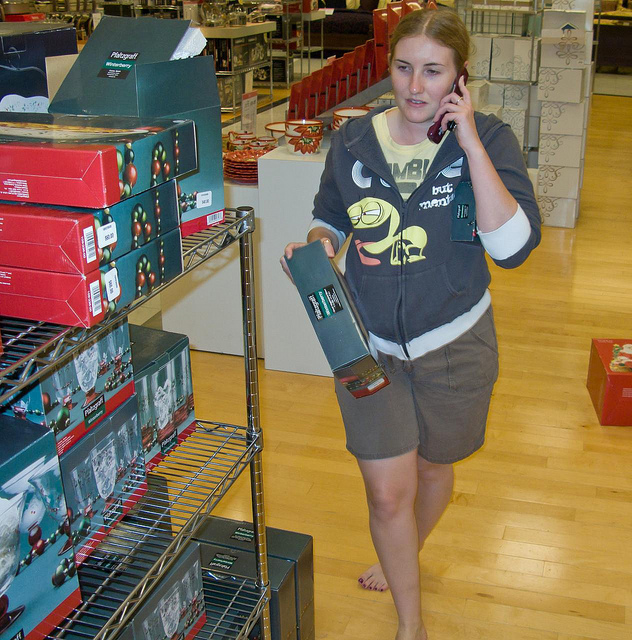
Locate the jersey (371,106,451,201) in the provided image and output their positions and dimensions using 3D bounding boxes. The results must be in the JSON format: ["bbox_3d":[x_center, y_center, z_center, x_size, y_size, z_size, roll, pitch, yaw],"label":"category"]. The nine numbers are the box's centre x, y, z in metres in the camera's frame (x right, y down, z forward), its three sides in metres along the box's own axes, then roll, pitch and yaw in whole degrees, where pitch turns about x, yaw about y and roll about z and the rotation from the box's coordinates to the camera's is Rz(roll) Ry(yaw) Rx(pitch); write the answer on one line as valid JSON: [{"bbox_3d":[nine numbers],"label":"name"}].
[{"bbox_3d":[0.254,-0.412,1.479,0.276,0.287,0.159,1,18,15],"label":"jersey"}]

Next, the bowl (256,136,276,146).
[{"bbox_3d":[-0.303,-1.090,3.424,0.075,0.034,0.080,2,26,-1],"label":"bowl"}]

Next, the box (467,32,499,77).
[{"bbox_3d":[1.667,-2.518,5.393,0.282,0.382,0.385,-20,31,-35],"label":"box"}]

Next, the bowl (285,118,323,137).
[{"bbox_3d":[-0.071,-1.052,3.093,0.184,0.092,0.177,0,24,0],"label":"bowl"}]

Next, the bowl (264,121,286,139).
[{"bbox_3d":[-0.246,-1.181,3.506,0.132,0.084,0.133,0,28,0],"label":"bowl"}]

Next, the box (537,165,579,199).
[{"bbox_3d":[2.160,-1.215,5.141,0.358,0.234,0.377,8,13,33],"label":"box"}]

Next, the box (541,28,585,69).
[{"bbox_3d":[2.050,-2.240,4.736,0.331,0.340,0.345,6,17,26],"label":"box"}]

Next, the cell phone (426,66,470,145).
[{"bbox_3d":[0.312,-0.511,1.355,0.091,0.178,0.250,4,22,12],"label":"cell phone"}]

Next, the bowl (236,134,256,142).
[{"bbox_3d":[-0.430,-1.109,3.440,0.074,0.031,0.079,2,24,-1],"label":"bowl"}]

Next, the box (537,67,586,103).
[{"bbox_3d":[2.085,-1.991,4.816,0.322,0.209,0.334,6,14,20],"label":"box"}]

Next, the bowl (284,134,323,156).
[{"bbox_3d":[-0.060,-0.956,3.069,0.142,0.083,0.142,2,23,-1],"label":"bowl"}]

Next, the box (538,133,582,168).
[{"bbox_3d":[2.154,-1.495,4.987,0.314,0.208,0.327,6,2,9],"label":"box"}]

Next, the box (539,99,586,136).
[{"bbox_3d":[2.147,-1.811,4.928,0.330,0.343,0.213,7,29,17],"label":"box"}]

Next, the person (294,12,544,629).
[{"bbox_3d":[0.247,0.103,1.711,0.610,1.817,0.923,-2,21,-2],"label":"person"}]

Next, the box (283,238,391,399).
[{"bbox_3d":[0.028,-0.006,1.288,0.123,0.352,0.279,-15,26,-33],"label":"box"}]

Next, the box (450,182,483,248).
[{"bbox_3d":[0.354,-0.257,1.349,0.072,0.132,0.031,10,8,35],"label":"box"}]

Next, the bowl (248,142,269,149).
[{"bbox_3d":[-0.352,-1.044,3.389,0.056,0.024,0.063,-4,27,4],"label":"bowl"}]

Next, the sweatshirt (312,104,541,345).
[{"bbox_3d":[0.265,-0.243,1.529,0.591,0.593,0.319,4,10,26],"label":"sweatshirt"}]

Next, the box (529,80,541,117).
[{"bbox_3d":[2.027,-2.061,5.245,0.098,0.315,0.308,2,25,17],"label":"box"}]

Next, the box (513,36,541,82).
[{"bbox_3d":[1.954,-2.419,5.263,0.236,0.385,0.161,8,23,22],"label":"box"}]
